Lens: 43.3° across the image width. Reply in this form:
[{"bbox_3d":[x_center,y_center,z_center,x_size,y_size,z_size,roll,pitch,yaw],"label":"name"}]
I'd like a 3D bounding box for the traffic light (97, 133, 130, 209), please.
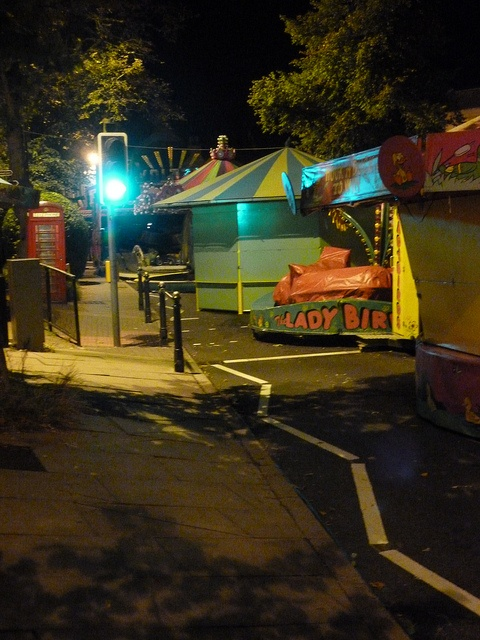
[{"bbox_3d":[-2.311,-2.752,10.895,0.634,1.013,0.550,8,3,-9],"label":"traffic light"}]
